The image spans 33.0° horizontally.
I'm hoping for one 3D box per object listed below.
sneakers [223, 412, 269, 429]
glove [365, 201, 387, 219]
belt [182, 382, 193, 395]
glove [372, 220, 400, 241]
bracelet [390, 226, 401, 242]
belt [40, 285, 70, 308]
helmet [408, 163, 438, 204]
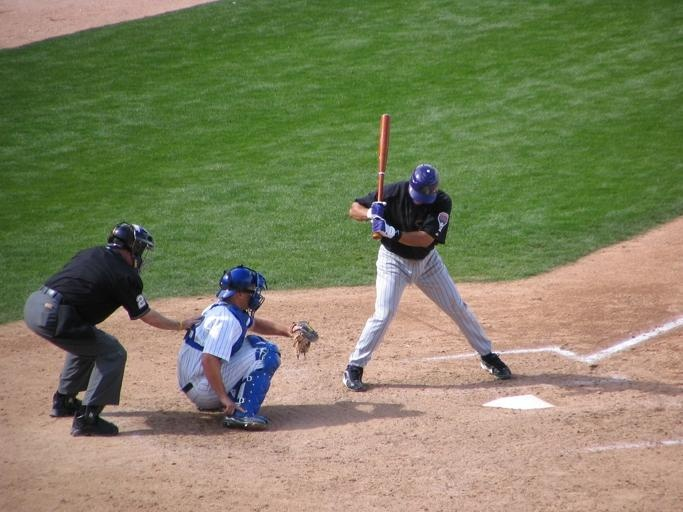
[{"bbox_3d":[-1.361,2.353,16.366,0.693,0.233,0.213,1,4,-3],"label":"sneakers"},{"bbox_3d":[0.501,-0.667,16.874,0.295,0.235,0.124,-8,-25,31],"label":"glove"},{"bbox_3d":[-2.187,1.884,16.277,0.168,0.055,0.116,-31,23,-10],"label":"belt"},{"bbox_3d":[0.646,-0.368,16.685,0.366,0.138,0.301,14,37,-10],"label":"glove"},{"bbox_3d":[0.793,-0.296,16.686,0.150,0.146,0.134,-4,6,-25],"label":"bracelet"},{"bbox_3d":[-3.989,0.550,15.965,0.232,0.108,0.304,42,-11,-37],"label":"belt"},{"bbox_3d":[1.187,-1.038,16.732,0.487,0.515,0.320,4,-14,-1],"label":"helmet"}]
